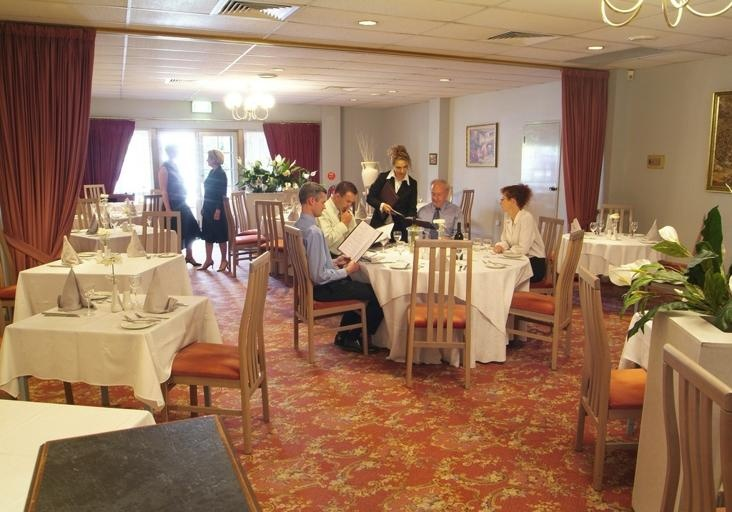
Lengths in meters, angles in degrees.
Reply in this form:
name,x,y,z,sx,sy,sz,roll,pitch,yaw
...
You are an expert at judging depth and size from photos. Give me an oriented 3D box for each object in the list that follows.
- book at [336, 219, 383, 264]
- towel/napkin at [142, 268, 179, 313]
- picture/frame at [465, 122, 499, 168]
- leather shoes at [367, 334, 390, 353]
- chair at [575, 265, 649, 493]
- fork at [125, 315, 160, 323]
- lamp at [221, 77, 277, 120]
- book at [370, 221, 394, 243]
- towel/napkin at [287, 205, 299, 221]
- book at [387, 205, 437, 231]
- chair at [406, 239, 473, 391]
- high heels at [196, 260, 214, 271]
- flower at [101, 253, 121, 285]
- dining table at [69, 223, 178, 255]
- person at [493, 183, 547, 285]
name,x,y,z,sx,sy,sz,roll,pitch,yaw
book,-0.052,-0.138,5.049,0.334,0.371,0.133,38,5,24
towel/napkin,-1.395,0.222,3.718,0.280,0.330,0.275,0,4,-25
picture/frame,2.326,-2.216,10.686,0.097,0.900,0.940,-6,9,-25
leather shoes,0.120,0.853,5.238,0.123,0.108,0.204,0,11,-5
chair,1.516,0.732,3.356,0.396,1.301,0.483,-1,14,-1
fork,-1.405,0.406,3.410,0.250,0.013,0.076,7,19,18
lamp,-2.125,-2.845,9.676,0.737,0.575,0.766,15,30,32
book,0.167,-0.228,5.455,0.202,0.216,0.075,14,15,25
towel/napkin,-1.092,-0.652,8.196,0.239,0.263,0.238,-1,6,-21
book,0.525,-0.387,5.783,0.338,0.185,0.895,-6,15,-22
chair,0.639,0.401,4.649,0.551,1.243,0.814,1,14,7
high heels,-2.574,0.156,8.741,0.348,0.165,0.121,5,9,16
flower,-2.097,0.113,4.462,0.156,0.246,0.160,-14,27,-29
dining table,-2.866,-0.182,6.235,0.718,0.285,0.714,-6,15,-28
person,1.590,-0.141,5.705,0.613,1.165,0.507,-2,7,4
